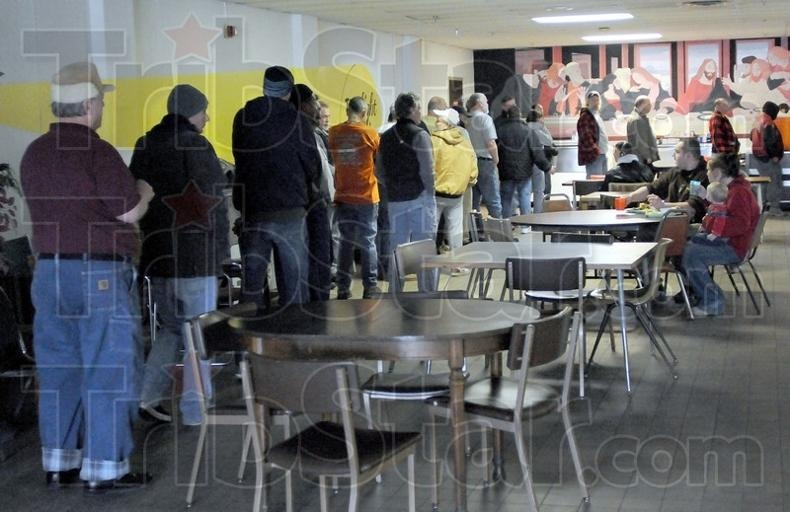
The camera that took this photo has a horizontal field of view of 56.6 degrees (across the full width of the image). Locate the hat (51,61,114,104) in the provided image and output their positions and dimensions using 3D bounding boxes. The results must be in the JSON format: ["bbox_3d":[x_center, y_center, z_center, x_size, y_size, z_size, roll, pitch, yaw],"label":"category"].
[{"bbox_3d":[-1.967,-1.120,4.643,0.373,0.175,0.253,-19,35,-31],"label":"hat"}]

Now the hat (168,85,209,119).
[{"bbox_3d":[-1.510,-1.125,5.372,0.287,0.246,0.155,-9,13,-30],"label":"hat"}]

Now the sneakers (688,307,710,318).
[{"bbox_3d":[3.240,0.600,7.831,0.232,0.092,0.098,-3,10,12],"label":"sneakers"}]

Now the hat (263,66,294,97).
[{"bbox_3d":[-0.955,-1.392,5.904,0.216,0.222,0.275,5,15,14],"label":"hat"}]
